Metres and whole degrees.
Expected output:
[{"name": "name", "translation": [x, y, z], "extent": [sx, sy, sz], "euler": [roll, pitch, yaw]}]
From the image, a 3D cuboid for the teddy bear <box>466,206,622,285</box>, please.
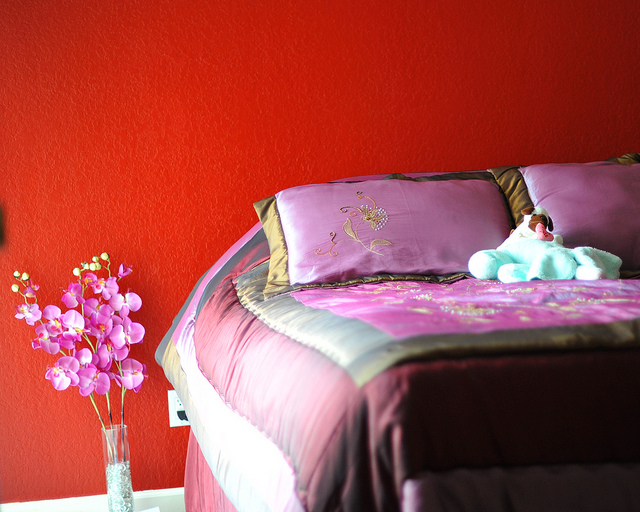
[{"name": "teddy bear", "translation": [0.697, 0.007, 1.747], "extent": [0.297, 0.330, 0.134], "euler": [-3, -90, -3]}]
